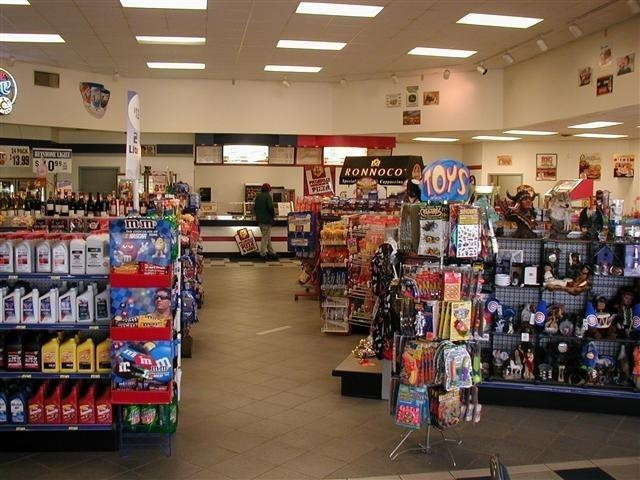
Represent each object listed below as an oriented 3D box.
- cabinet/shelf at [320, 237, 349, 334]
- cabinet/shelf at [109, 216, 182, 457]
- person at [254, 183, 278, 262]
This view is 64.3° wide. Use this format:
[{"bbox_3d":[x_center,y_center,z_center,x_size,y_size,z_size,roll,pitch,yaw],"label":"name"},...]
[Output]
[{"bbox_3d":[0.241,0.701,7.889,0.521,1.378,1.431,-1,3,0],"label":"cabinet/shelf"},{"bbox_3d":[-1.496,0.814,4.390,0.562,2.022,0.550,-1,6,-17],"label":"cabinet/shelf"},{"bbox_3d":[-1.575,-0.481,14.523,0.576,2.227,1.101,0,6,-6],"label":"person"}]
